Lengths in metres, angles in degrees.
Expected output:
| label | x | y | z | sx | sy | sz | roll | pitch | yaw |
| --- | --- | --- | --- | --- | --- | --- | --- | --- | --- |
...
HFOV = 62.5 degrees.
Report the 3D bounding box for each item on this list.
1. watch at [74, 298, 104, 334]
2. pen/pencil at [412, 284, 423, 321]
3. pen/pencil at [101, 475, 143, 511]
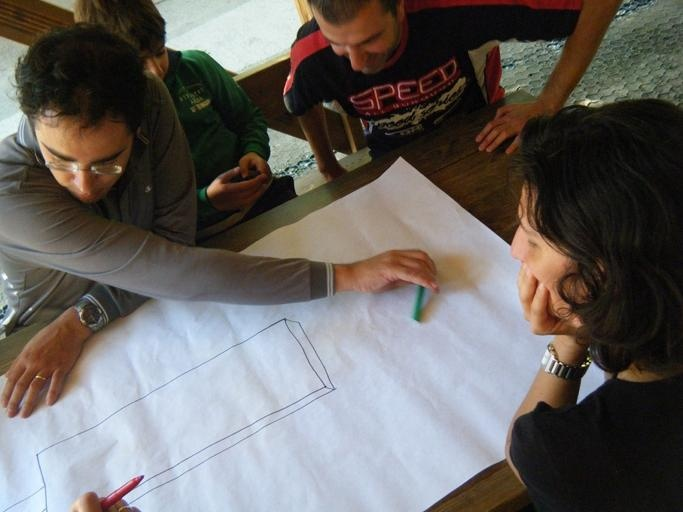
| label | x | y | z | sx | sy | sz | roll | pitch | yaw |
| --- | --- | --- | --- | --- | --- | --- | --- | --- | --- |
| watch | -0.584 | 0.142 | 1.307 | 0.057 | 0.028 | 0.075 | -38 | 89 | -28 |
| pen/pencil | 0.167 | 0.107 | 1.261 | 0.018 | 0.014 | 0.083 | -6 | 47 | 18 |
| pen/pencil | -0.423 | 0.467 | 1.091 | 0.015 | 0.017 | 0.112 | 4 | 26 | 38 |
